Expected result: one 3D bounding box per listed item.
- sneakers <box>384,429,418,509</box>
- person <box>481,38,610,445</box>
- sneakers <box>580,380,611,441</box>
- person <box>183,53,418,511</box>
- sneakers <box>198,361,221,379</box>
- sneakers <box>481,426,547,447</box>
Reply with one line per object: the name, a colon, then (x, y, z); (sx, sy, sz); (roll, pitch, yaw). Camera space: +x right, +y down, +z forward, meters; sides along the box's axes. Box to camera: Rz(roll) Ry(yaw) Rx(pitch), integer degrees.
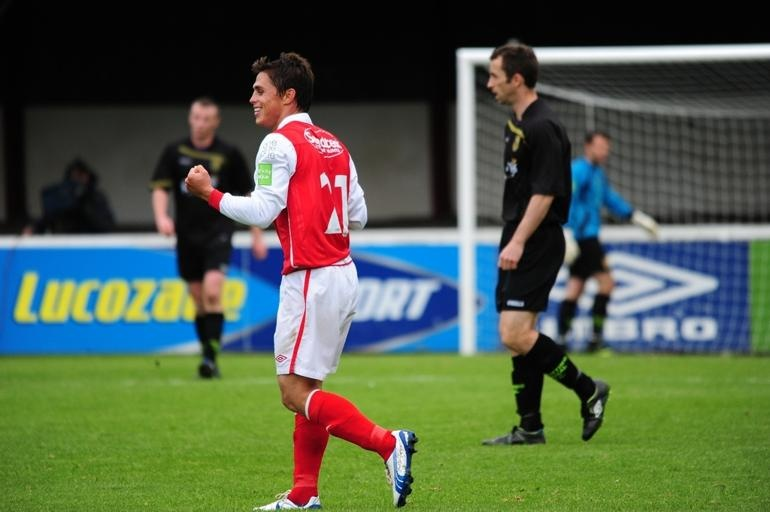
sneakers: (0.105, 1.280, 5.924); (0.227, 0.492, 0.170); (-4, 7, 1)
person: (1.124, -0.076, 6.937); (0.822, 2.963, 0.578); (2, -1, 5)
sneakers: (1.512, 1.111, 7.011); (0.224, 0.469, 0.167); (8, 2, -4)
person: (-0.465, 0.112, 5.977); (1.350, 1.964, 0.400); (2, -1, -4)
sneakers: (-1.094, 0.726, 6.023); (0.062, 0.079, 0.176); (-4, -40, 12)
sneakers: (0.959, 1.342, 7.163); (0.503, 0.187, 0.171); (1, -5, 6)
